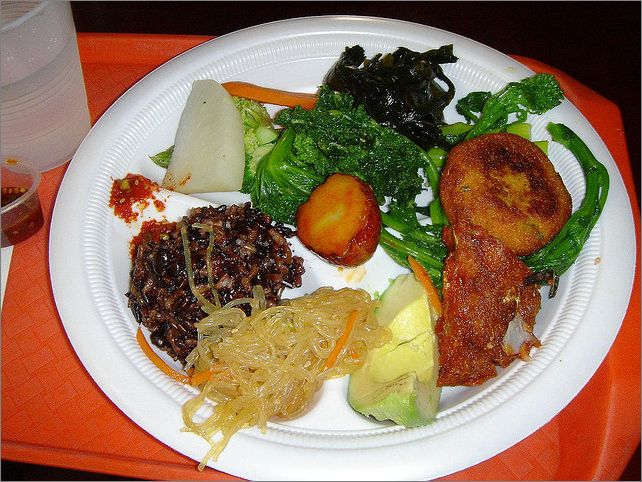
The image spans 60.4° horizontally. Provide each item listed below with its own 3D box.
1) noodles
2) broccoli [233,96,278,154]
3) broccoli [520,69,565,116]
[{"bbox_3d":[-0.349,0.836,4.215,1.608,1.090,0.404,-22,-7,-7],"label":"noodles"},{"bbox_3d":[-0.516,-0.967,4.586,0.233,0.412,0.473,0,27,5],"label":"broccoli"},{"bbox_3d":[1.762,-1.174,4.365,0.307,0.323,0.096,-26,-10,38],"label":"broccoli"}]
